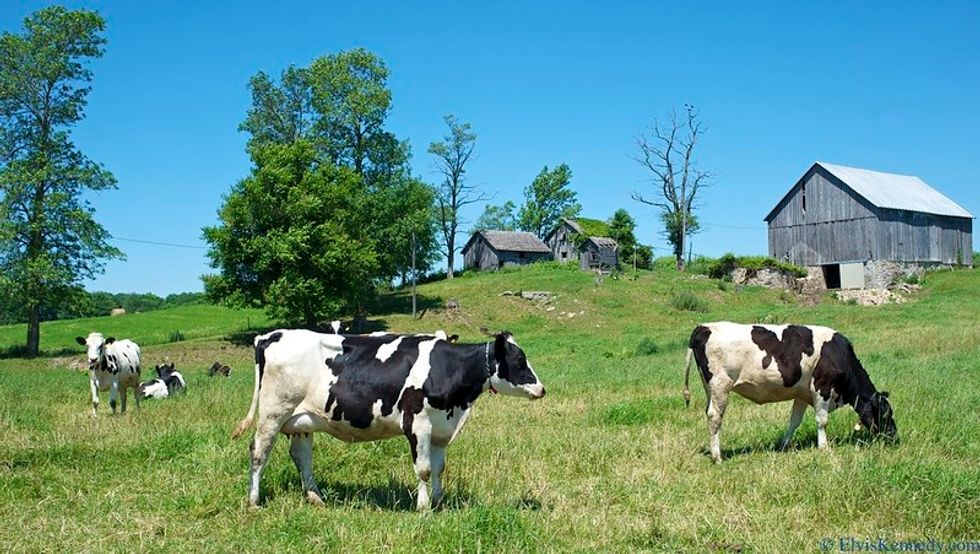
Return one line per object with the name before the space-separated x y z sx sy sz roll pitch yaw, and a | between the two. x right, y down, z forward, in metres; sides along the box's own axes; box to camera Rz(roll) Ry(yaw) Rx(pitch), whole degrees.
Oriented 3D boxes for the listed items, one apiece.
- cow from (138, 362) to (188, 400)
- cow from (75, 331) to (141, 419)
cow | -16.602 5.417 43.526 2.064 1.323 2.953 -1 -1 -13
cow | -17.741 4.461 40.283 2.301 3.745 2.723 -1 -1 -16
